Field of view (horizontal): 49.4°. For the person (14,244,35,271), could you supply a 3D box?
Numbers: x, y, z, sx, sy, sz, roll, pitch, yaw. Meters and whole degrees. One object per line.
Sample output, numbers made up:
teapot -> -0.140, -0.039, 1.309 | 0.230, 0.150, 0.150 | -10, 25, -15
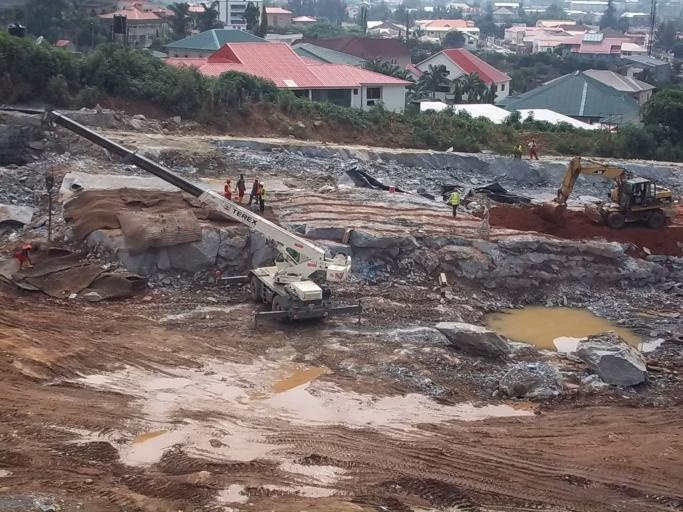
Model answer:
person -> -10.063, 0.016, 23.345 | 0.494, 0.711, 0.638 | -3, 16, -21

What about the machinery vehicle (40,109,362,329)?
machinery vehicle -> -1.297, -1.000, 24.307 | 15.996, 5.351, 4.185 | 6, 24, 7

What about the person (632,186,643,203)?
person -> 11.776, -2.391, 29.242 | 0.485, 0.639, 0.101 | 0, 18, -12

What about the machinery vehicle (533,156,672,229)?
machinery vehicle -> 12.413, -2.578, 30.833 | 8.237, 3.165, 2.508 | 2, 14, -1
